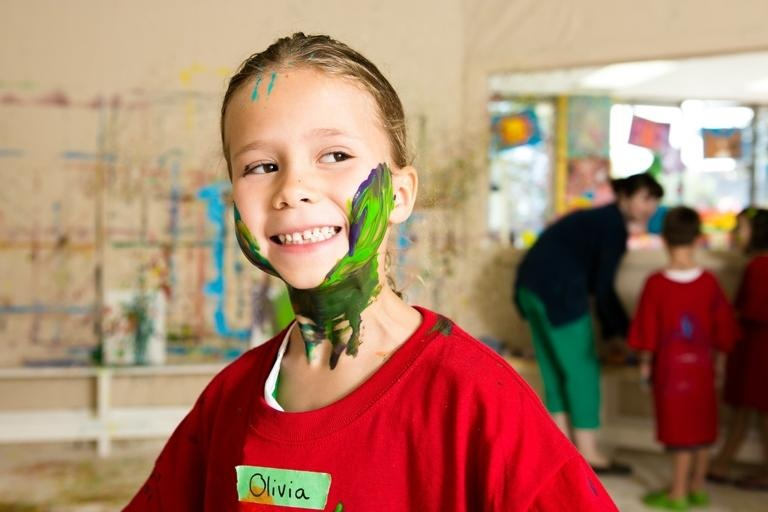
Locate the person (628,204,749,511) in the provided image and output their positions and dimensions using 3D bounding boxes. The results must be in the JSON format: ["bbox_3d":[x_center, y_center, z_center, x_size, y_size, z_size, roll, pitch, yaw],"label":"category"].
[{"bbox_3d":[0.715,0.294,2.051,0.218,0.825,0.564,1,2,21],"label":"person"}]
